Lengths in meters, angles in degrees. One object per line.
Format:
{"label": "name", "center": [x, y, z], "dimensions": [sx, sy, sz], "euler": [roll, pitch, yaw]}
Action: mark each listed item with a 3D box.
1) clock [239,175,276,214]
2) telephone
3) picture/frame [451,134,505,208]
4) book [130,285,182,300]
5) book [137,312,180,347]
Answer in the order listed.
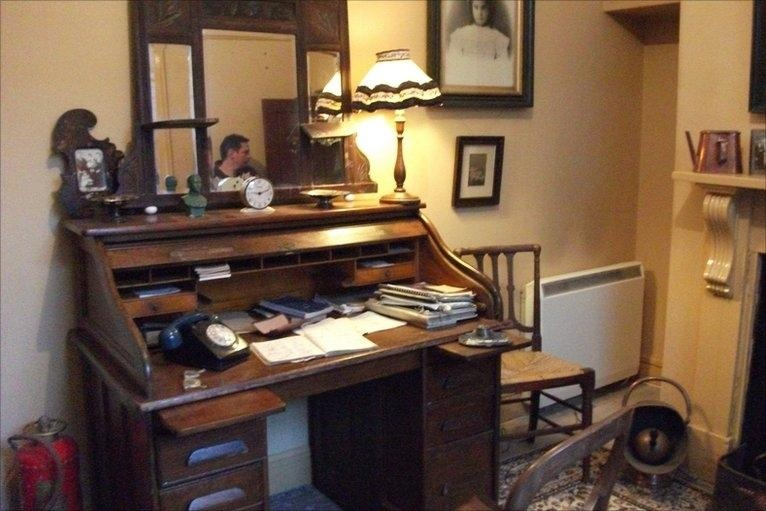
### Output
{"label": "clock", "center": [-0.660, -0.311, 3.065], "dimensions": [0.098, 0.229, 0.232], "euler": [6, 8, 45]}
{"label": "telephone", "center": [-0.848, 0.386, 2.767], "dimensions": [0.428, 0.195, 0.401], "euler": [2, 11, -24]}
{"label": "picture/frame", "center": [0.618, -0.574, 3.932], "dimensions": [0.550, 0.565, 0.054], "euler": [-3, 11, -39]}
{"label": "book", "center": [-1.065, 0.169, 2.794], "dimensions": [0.205, 0.032, 0.141], "euler": [-8, 12, -18]}
{"label": "book", "center": [-1.122, 0.354, 2.949], "dimensions": [0.178, 0.063, 0.217], "euler": [5, 7, 31]}
